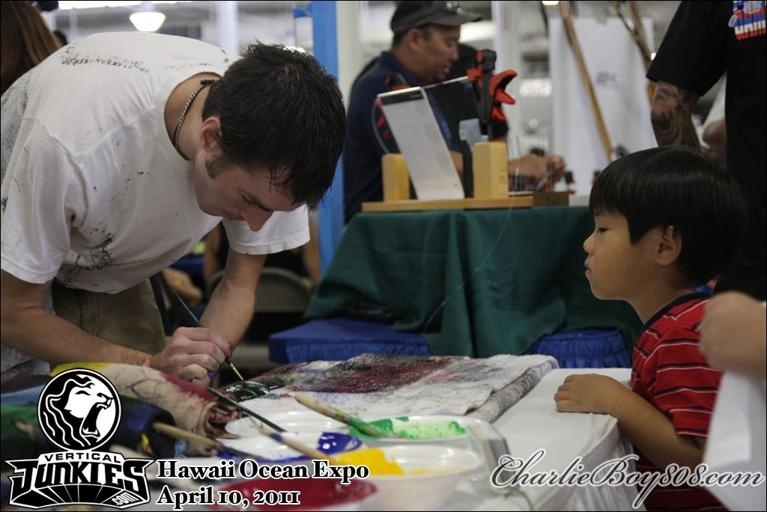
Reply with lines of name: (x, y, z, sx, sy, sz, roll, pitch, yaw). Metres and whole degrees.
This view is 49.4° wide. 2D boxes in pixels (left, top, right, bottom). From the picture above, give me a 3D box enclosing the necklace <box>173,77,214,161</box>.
necklace: (-0.410, -0.294, 1.744, 0.034, 0.148, 0.107, 33, 24, 17)
